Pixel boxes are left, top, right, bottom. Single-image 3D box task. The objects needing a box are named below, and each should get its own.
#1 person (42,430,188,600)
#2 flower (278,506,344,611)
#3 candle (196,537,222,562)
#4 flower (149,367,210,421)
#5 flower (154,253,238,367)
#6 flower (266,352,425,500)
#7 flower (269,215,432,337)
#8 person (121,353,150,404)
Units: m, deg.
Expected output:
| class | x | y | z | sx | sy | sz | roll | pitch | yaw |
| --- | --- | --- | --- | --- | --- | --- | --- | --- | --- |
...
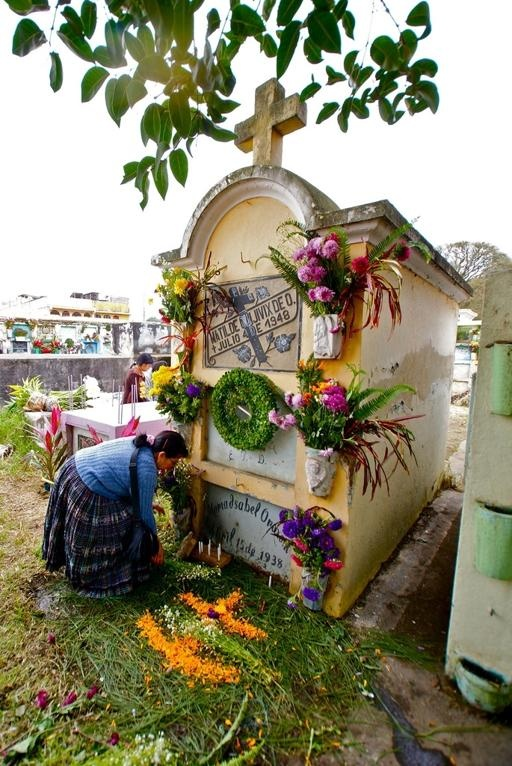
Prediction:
| class | x | y | z | sx | sy | sz | roll | pitch | yaw |
| --- | --- | --- | --- | --- | --- | --- | --- | --- | --- |
| person | -0.932 | 0.789 | 3.229 | 0.864 | 0.907 | 0.768 | 2 | 8 | -18 |
| flower | 0.321 | 1.066 | 2.890 | 0.484 | 0.622 | 0.218 | 8 | 10 | 38 |
| candle | -0.358 | 1.250 | 3.609 | 0.194 | 0.084 | 0.377 | 1 | 8 | -5 |
| flower | -0.652 | 0.084 | 3.796 | 0.423 | 0.524 | 0.508 | -6 | 6 | -33 |
| flower | -0.532 | -0.517 | 3.700 | 0.346 | 0.882 | 0.757 | -4 | 10 | -34 |
| flower | 0.670 | 0.297 | 3.049 | 0.926 | 0.848 | 0.909 | 7 | -4 | -26 |
| flower | 0.501 | -0.626 | 2.837 | 0.856 | 0.680 | 0.632 | 3 | 8 | 8 |
| person | -1.524 | 0.050 | 6.025 | 0.320 | 0.893 | 0.375 | 0 | 32 | -22 |
